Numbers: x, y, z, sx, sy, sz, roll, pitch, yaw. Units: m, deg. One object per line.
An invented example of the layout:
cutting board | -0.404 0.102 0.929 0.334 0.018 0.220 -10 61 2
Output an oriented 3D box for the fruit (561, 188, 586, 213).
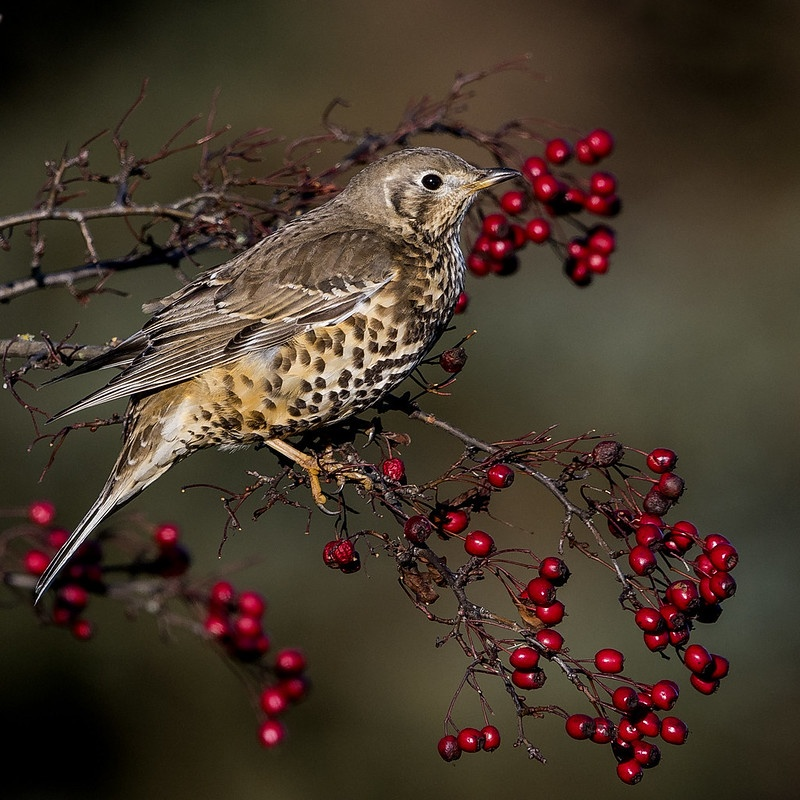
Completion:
fruit | 0.652 -0.741 4.485 0.082 0.080 0.046 0 5 -4

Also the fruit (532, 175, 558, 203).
fruit | 0.536 -0.773 4.408 0.086 0.079 0.074 -17 -21 -9

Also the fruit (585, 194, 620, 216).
fruit | 0.755 -0.713 4.440 0.087 0.054 0.109 18 11 37

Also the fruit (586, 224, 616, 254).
fruit | 0.749 -0.587 4.438 0.125 0.099 0.066 18 7 14

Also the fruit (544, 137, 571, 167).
fruit | 0.585 -0.905 4.416 0.098 0.089 0.058 -3 7 -1

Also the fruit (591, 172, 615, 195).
fruit | 0.749 -0.789 4.410 0.097 0.071 0.073 17 -35 5

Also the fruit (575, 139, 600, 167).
fruit | 0.688 -0.907 4.440 0.113 0.076 0.100 3 1 -9
